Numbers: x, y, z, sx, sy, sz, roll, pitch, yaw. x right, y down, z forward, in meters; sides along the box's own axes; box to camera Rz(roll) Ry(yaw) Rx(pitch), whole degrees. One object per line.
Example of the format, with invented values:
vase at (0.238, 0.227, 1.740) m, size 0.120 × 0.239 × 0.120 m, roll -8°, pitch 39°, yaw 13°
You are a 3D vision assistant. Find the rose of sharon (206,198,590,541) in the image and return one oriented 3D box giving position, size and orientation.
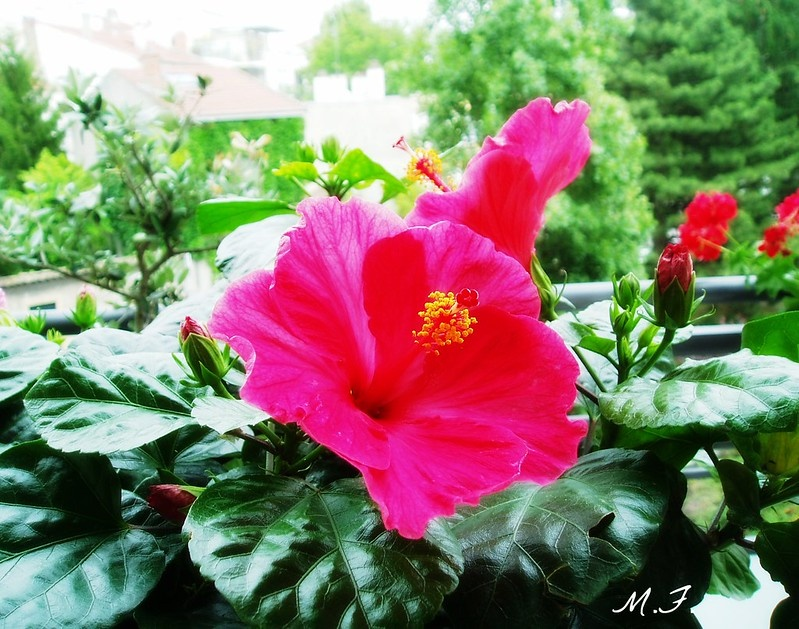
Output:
rose of sharon at (0.010, 0.049, 0.732) m, size 0.349 × 0.290 × 0.295 m, roll -23°, pitch 42°, yaw -32°
